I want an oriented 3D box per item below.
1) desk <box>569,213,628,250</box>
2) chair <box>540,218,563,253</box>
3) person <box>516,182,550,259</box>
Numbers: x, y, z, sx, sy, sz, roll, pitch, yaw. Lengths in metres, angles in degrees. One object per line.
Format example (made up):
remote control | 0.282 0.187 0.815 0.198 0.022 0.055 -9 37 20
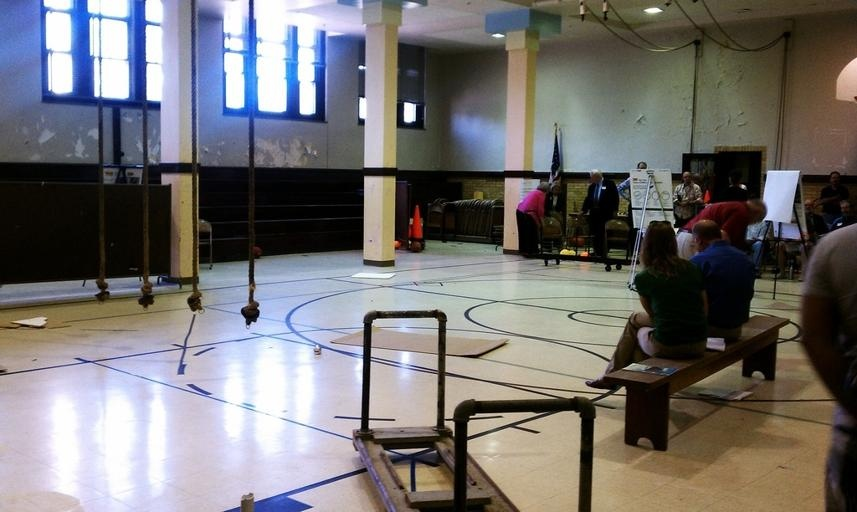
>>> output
desk | 4.726 -0.676 18.604 1.700 0.945 1.235 1 2 45
chair | 3.429 -0.468 17.981 0.680 0.987 0.745 5 13 19
person | 2.795 -0.937 17.401 0.771 2.060 1.222 -3 9 -16
